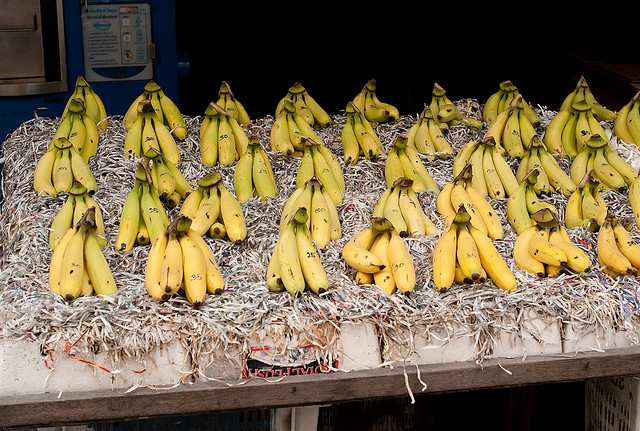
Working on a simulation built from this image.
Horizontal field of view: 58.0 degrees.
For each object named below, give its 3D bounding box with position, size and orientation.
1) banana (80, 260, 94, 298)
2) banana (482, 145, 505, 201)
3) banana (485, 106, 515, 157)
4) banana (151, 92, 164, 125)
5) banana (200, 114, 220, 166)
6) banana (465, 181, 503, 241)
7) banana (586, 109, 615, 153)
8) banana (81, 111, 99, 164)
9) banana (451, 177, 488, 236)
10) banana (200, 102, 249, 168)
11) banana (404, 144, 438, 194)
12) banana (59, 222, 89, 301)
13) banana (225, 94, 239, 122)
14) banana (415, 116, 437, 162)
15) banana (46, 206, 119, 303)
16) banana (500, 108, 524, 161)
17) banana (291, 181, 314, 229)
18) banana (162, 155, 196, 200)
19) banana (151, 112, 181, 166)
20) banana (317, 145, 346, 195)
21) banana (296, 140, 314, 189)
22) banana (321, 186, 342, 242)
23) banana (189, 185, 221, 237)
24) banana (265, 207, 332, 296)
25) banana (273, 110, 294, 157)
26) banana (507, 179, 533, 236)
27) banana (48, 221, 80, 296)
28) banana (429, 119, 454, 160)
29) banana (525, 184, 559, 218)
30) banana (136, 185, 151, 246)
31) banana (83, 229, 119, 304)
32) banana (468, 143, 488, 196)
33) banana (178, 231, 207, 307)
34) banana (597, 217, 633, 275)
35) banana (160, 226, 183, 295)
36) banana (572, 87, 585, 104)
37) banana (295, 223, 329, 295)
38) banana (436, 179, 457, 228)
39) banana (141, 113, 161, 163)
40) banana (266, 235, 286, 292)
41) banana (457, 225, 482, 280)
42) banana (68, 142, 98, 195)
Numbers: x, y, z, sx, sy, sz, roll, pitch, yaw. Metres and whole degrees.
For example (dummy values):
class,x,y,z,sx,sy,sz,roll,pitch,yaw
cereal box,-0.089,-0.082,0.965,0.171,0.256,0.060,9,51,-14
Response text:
class,x,y,z,sx,sy,sz,roll,pitch,yaw
banana,-0.919,0.254,2.279,0.037,0.134,0.043,-8,-5,-8
banana,0.858,-0.218,2.935,0.071,0.271,0.092,-4,-25,0
banana,0.995,-0.456,3.192,0.073,0.360,0.124,2,-31,49
banana,-0.890,-0.580,3.118,0.046,0.194,0.066,-14,9,-25
banana,-0.577,-0.395,3.018,0.095,0.279,0.059,-1,-6,-11
banana,0.775,-0.007,2.744,0.083,0.309,0.101,-24,-28,7
banana,1.539,-0.459,3.178,0.059,0.287,0.097,-29,-7,20
banana,-1.196,-0.403,2.990,0.062,0.310,0.107,-4,-6,5
banana,0.681,-0.052,2.688,0.087,0.330,0.117,15,-48,-21
banana,-0.512,-0.404,3.027,0.227,0.379,0.169,-11,-38,-11
banana,0.514,-0.229,2.957,0.056,0.268,0.087,-34,-4,19
banana,-0.970,0.177,2.267,0.076,0.305,0.113,-5,-6,19
banana,-0.511,-0.627,3.328,0.052,0.199,0.065,-7,-28,-6
banana,0.564,-0.430,3.195,0.073,0.276,0.096,14,-44,-16
banana,-0.944,0.176,2.307,0.224,0.409,0.152,15,-52,-42
banana,1.046,-0.450,3.204,0.083,0.298,0.103,16,-36,-12
banana,-0.073,-0.062,2.625,0.066,0.257,0.089,-4,-40,13
banana,-0.689,-0.174,2.780,0.059,0.223,0.078,-30,-3,4
banana,-0.806,-0.387,2.984,0.078,0.317,0.113,-34,-14,23
banana,0.049,-0.219,2.875,0.062,0.273,0.089,-25,-2,9
banana,-0.063,-0.249,2.884,0.067,0.258,0.088,-3,-25,37
banana,0.060,0.014,2.626,0.067,0.288,0.093,-6,-8,-11
banana,-0.500,-0.014,2.602,0.088,0.073,0.266,20,-64,-19
banana,-0.090,0.161,2.341,0.200,0.360,0.140,-2,-37,-8
banana,-0.208,-0.425,3.095,0.077,0.255,0.159,10,-26,-27
banana,0.936,-0.023,2.725,0.075,0.290,0.101,25,-40,-22
banana,-1.022,0.184,2.298,0.059,0.270,0.085,25,-27,-31
banana,0.646,-0.423,3.228,0.068,0.280,0.090,9,-40,-33
banana,1.047,-0.066,2.744,0.051,0.164,0.109,-11,-39,-37
banana,-0.783,0.002,2.540,0.059,0.264,0.091,-1,-6,-1
banana,-0.885,0.197,2.339,0.099,0.366,0.125,-13,-14,-26
banana,0.809,-0.233,3.006,0.088,0.340,0.110,2,-27,9
banana,-0.517,0.199,2.309,0.085,0.328,0.105,-6,-36,-8
banana,1.240,0.128,2.450,0.115,0.249,0.107,-5,-6,20
banana,-0.576,0.192,2.303,0.076,0.292,0.091,27,-46,-32
banana,1.519,-0.706,3.402,0.039,0.134,0.050,22,8,18
banana,-0.051,0.172,2.390,0.078,0.307,0.106,-1,-34,-19
banana,0.618,-0.067,2.784,0.061,0.274,0.094,23,-37,-17
banana,-0.884,-0.414,3.031,0.084,0.349,0.118,-6,-13,-3
banana,-0.187,0.194,2.316,0.055,0.210,0.070,30,-42,-28
banana,0.604,0.156,2.410,0.061,0.235,0.076,7,-38,-10
banana,-1.146,-0.217,2.765,0.068,0.255,0.101,-26,-11,-19
